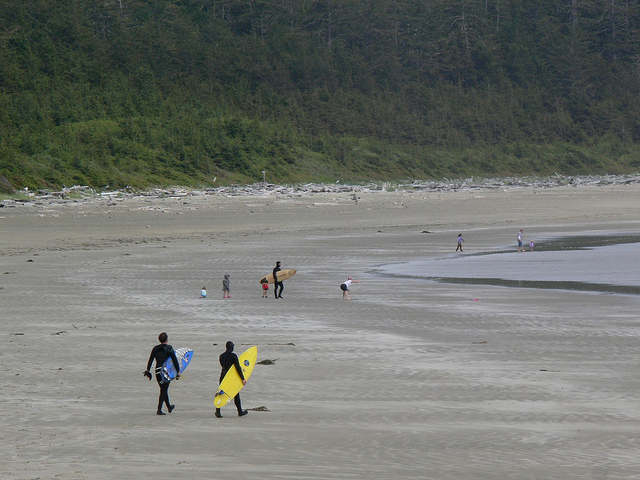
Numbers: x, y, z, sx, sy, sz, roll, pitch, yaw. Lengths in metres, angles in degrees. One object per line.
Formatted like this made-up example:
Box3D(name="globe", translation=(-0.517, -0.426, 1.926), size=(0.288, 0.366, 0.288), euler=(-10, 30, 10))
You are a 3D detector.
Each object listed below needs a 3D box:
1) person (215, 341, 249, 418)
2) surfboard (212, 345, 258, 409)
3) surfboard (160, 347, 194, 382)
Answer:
Box3D(name="person", translation=(-2.673, 4.049, 34.820), size=(1.324, 1.916, 1.083), euler=(-1, 8, -26))
Box3D(name="surfboard", translation=(-2.540, 4.002, 35.005), size=(2.410, 0.731, 0.309), euler=(-45, 3, -35))
Box3D(name="surfboard", translation=(-4.250, 3.614, 35.244), size=(0.167, 0.588, 2.015), euler=(-20, -15, -46))
